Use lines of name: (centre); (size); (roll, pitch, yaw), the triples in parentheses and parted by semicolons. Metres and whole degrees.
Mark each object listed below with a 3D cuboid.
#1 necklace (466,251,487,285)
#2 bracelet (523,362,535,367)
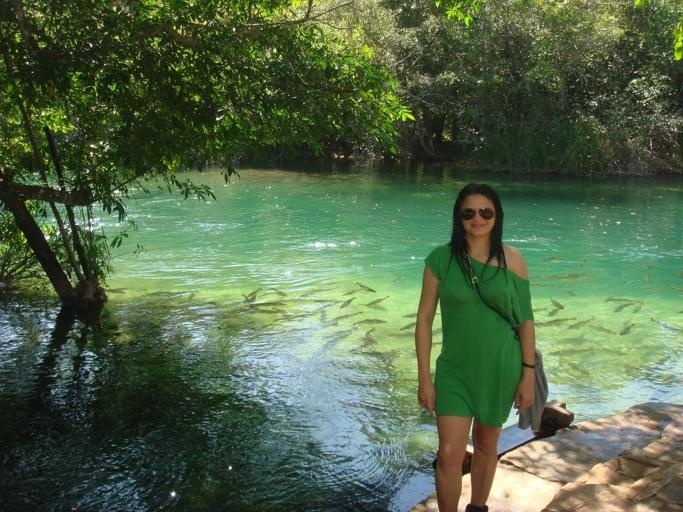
necklace: (0.963, 0.086, 3.712); (0.126, 0.201, 0.048); (2, -29, 2)
bracelet: (1.378, 0.799, 3.811); (0.050, 0.017, 0.043); (2, 5, -2)
